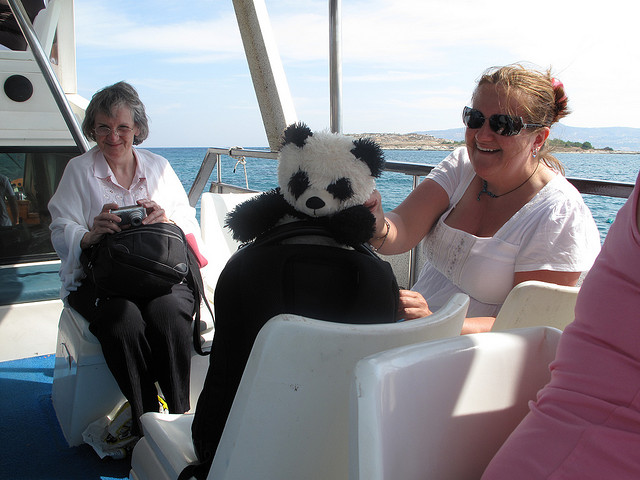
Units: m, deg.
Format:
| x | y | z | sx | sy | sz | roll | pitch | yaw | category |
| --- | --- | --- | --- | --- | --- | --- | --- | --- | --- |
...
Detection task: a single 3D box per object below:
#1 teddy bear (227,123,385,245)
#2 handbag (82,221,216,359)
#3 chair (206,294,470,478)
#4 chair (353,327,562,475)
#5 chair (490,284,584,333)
| x | y | z | sx | sy | sz | roll | pitch | yaw | category |
| --- | --- | --- | --- | --- | --- | --- | --- | --- | --- |
| -0.030 | -0.122 | 1.164 | 0.362 | 0.343 | 0.229 | 5 | 27 | -9 | teddy bear |
| -0.860 | 0.271 | 2.249 | 0.731 | 0.679 | 0.607 | -4 | -2 | 19 | handbag |
| 0.040 | 0.278 | 1.156 | 0.383 | 0.619 | 0.428 | 1 | 17 | -24 | chair |
| 0.260 | 0.295 | 1.044 | 0.363 | 0.437 | 0.350 | 4 | -8 | -10 | chair |
| 0.618 | 0.191 | 1.260 | 0.116 | 0.201 | 0.110 | 30 | 4 | 4 | chair |
